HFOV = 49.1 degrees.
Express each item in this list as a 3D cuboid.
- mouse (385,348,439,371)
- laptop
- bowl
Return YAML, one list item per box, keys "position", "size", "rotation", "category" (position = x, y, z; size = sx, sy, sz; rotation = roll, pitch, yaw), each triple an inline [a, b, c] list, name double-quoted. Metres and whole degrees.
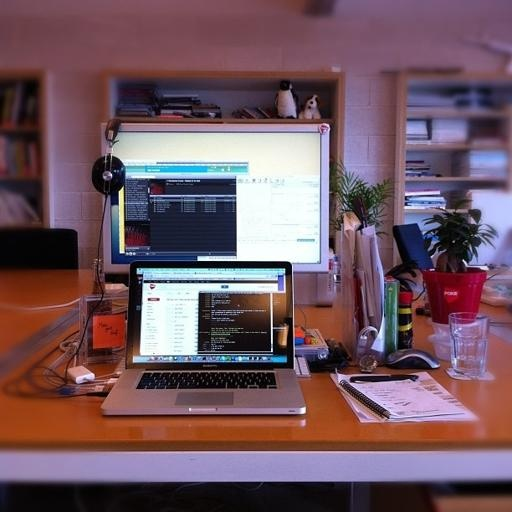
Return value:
- position: [0.274, 0.172, 0.962]
  size: [0.066, 0.024, 0.041]
  rotation: [-4, 2, 2]
  category: "mouse"
- position: [-0.081, 0.072, 0.832]
  size: [0.245, 0.157, 0.217]
  rotation: [0, 9, 0]
  category: "laptop"
- position: [0.365, 0.145, 1.028]
  size: [0.078, 0.060, 0.079]
  rotation: [-1, 3, 0]
  category: "bowl"
